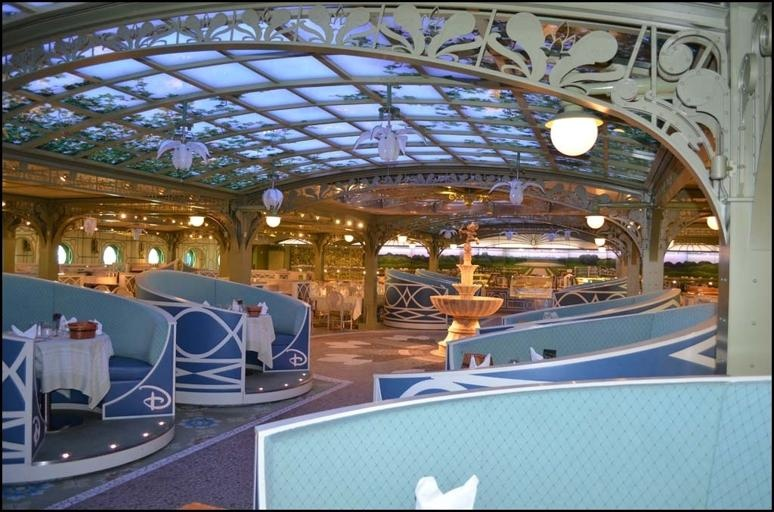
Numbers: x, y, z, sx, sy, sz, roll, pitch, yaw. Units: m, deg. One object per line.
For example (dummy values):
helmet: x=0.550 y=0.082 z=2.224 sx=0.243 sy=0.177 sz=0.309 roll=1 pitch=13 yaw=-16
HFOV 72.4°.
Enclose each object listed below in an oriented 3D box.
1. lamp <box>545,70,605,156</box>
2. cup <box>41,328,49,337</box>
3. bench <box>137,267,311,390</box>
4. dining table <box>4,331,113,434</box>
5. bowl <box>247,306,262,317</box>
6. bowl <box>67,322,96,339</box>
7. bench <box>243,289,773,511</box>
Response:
lamp: x=1.601 y=-1.122 z=4.542 sx=0.440 sy=0.481 sz=0.278 roll=-2 pitch=-6 yaw=12
cup: x=-4.068 y=0.911 z=6.333 sx=0.109 sy=0.107 sz=0.105 roll=-1 pitch=-5 yaw=0
bench: x=-2.949 y=1.195 z=9.529 sx=2.618 sy=1.447 sz=1.881 roll=0 pitch=-2 yaw=27
dining table: x=-3.677 y=1.397 z=6.168 sx=1.108 sy=0.608 sz=1.041 roll=6 pitch=-9 yaw=-30
bowl: x=-2.207 y=0.916 z=8.846 sx=0.181 sy=0.116 sz=0.184 roll=0 pitch=-8 yaw=0
bowl: x=-3.652 y=0.884 z=6.384 sx=0.264 sy=0.122 sz=0.199 roll=1 pitch=2 yaw=-17
bench: x=1.124 y=1.193 z=4.078 sx=2.699 sy=0.795 sz=1.888 roll=-2 pitch=0 yaw=7
